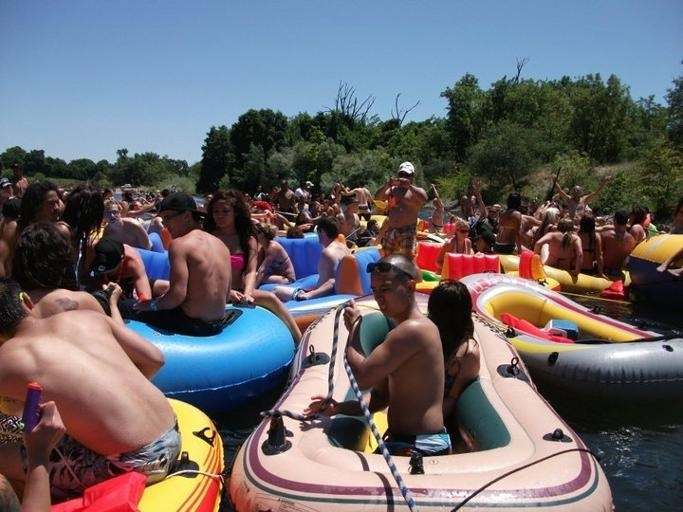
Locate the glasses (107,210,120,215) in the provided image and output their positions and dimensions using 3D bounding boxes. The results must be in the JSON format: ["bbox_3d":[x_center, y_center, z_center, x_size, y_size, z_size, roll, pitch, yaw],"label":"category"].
[{"bbox_3d":[-3.734,-0.716,8.522,0.209,0.076,0.214,1,5,41],"label":"glasses"}]

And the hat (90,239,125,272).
[{"bbox_3d":[-2.084,-0.011,4.705,0.205,0.206,0.327,4,37,-1],"label":"hat"}]

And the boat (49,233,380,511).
[{"bbox_3d":[-1.000,0.676,4.916,1.529,0.929,2.689,-9,11,35],"label":"boat"}]

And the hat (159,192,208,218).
[{"bbox_3d":[-1.408,-0.455,4.545,0.309,0.134,0.230,9,6,10],"label":"hat"}]

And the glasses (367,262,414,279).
[{"bbox_3d":[0.309,0.080,3.257,0.302,0.099,0.115,5,6,5],"label":"glasses"}]

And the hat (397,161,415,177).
[{"bbox_3d":[0.926,-1.269,7.535,0.234,0.213,0.387,1,-5,11],"label":"hat"}]
